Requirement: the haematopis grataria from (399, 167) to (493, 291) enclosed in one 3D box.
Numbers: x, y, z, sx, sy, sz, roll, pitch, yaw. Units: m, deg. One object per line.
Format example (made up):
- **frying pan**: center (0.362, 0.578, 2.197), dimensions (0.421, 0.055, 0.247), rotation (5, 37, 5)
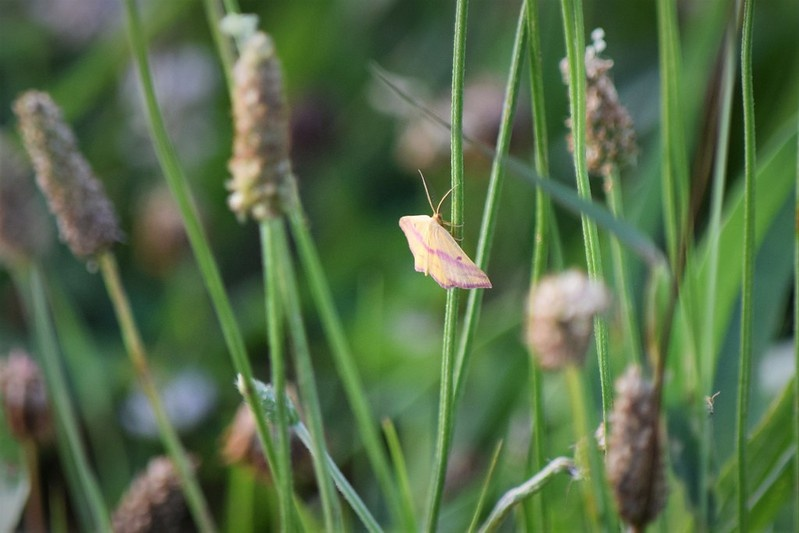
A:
- **haematopis grataria**: center (0.046, -0.036, 1.328), dimensions (0.088, 0.143, 0.048), rotation (-42, -35, -6)
